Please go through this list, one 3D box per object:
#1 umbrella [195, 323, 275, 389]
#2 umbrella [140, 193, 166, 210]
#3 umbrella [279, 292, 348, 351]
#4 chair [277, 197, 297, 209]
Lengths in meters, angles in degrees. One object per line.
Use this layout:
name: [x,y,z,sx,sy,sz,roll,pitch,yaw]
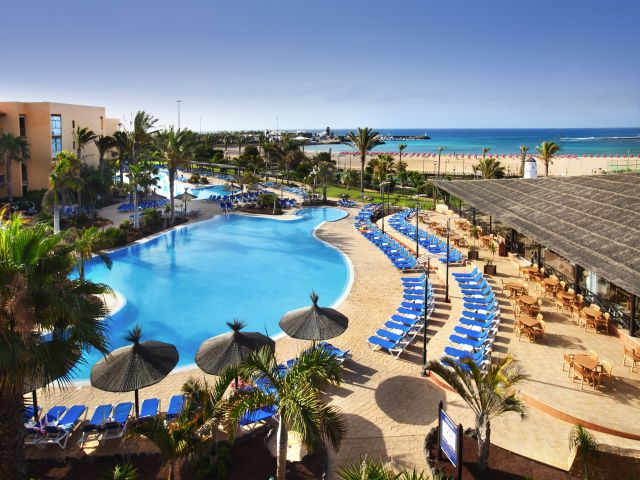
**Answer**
umbrella: [-3.120,4.170,15.537,2.450,2.303,2.587,-1,26,-1]
umbrella: [-19.701,-4.423,51.075,2.319,2.466,2.278,4,13,1]
umbrella: [-0.226,2.684,17.291,2.842,1.324,2.838,-12,18,-41]
chair: [-3.958,-4.198,51.384,1.613,0.889,2.704,6,13,20]
